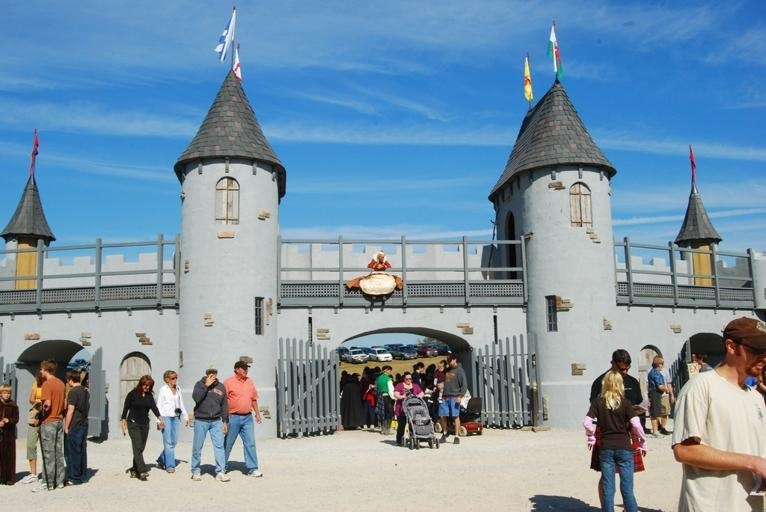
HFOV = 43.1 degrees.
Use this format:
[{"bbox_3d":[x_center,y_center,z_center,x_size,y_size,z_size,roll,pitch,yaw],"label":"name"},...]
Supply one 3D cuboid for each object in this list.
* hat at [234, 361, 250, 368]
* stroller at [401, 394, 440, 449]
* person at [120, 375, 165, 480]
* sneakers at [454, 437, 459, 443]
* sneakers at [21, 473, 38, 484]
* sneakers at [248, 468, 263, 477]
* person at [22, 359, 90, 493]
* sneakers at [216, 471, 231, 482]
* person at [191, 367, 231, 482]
[{"bbox_3d":[-3.566,2.770,24.611,0.393,0.205,0.278,2,1,-3],"label":"hat"},{"bbox_3d":[1.096,4.738,27.635,0.985,1.449,0.602,-1,-8,0],"label":"stroller"},{"bbox_3d":[-6.065,4.318,24.433,0.930,2.587,0.985,1,-8,-14],"label":"person"},{"bbox_3d":[2.181,5.393,28.311,0.163,0.195,0.436,-1,-8,3],"label":"sneakers"},{"bbox_3d":[-8.787,5.537,24.119,0.379,0.164,0.205,3,-5,1],"label":"sneakers"},{"bbox_3d":[-3.200,5.455,24.363,0.373,0.159,0.159,1,-1,21],"label":"sneakers"},{"bbox_3d":[-8.039,4.131,23.703,0.824,3.081,0.883,5,-10,-37],"label":"person"},{"bbox_3d":[-3.951,5.459,23.946,0.379,0.174,0.154,3,-1,16],"label":"sneakers"},{"bbox_3d":[-4.266,4.218,24.203,0.938,2.737,0.859,0,-8,-1],"label":"person"}]
